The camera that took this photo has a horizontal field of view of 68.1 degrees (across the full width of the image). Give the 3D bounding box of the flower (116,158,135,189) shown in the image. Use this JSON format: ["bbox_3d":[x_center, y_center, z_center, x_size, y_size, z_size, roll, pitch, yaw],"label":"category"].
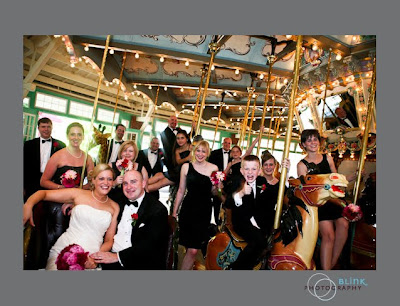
[{"bbox_3d":[-1.016,0.215,4.024,0.223,0.255,0.216,16,25,-26],"label":"flower"}]

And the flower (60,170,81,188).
[{"bbox_3d":[-1.597,0.326,3.670,0.219,0.227,0.163,10,-1,-24],"label":"flower"}]

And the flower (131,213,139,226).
[{"bbox_3d":[-0.713,0.731,3.257,0.100,0.120,0.119,4,13,-1],"label":"flower"}]

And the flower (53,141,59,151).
[{"bbox_3d":[-2.020,-0.095,4.176,0.089,0.136,0.090,1,-37,-19],"label":"flower"}]

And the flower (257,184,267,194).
[{"bbox_3d":[0.687,0.393,3.280,0.046,0.083,0.089,12,2,-23],"label":"flower"}]

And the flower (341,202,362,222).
[{"bbox_3d":[1.787,0.688,3.572,0.197,0.202,0.149,-31,-3,9],"label":"flower"}]

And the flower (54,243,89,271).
[{"bbox_3d":[-1.370,1.128,3.223,0.329,0.208,0.323,16,15,-9],"label":"flower"}]
